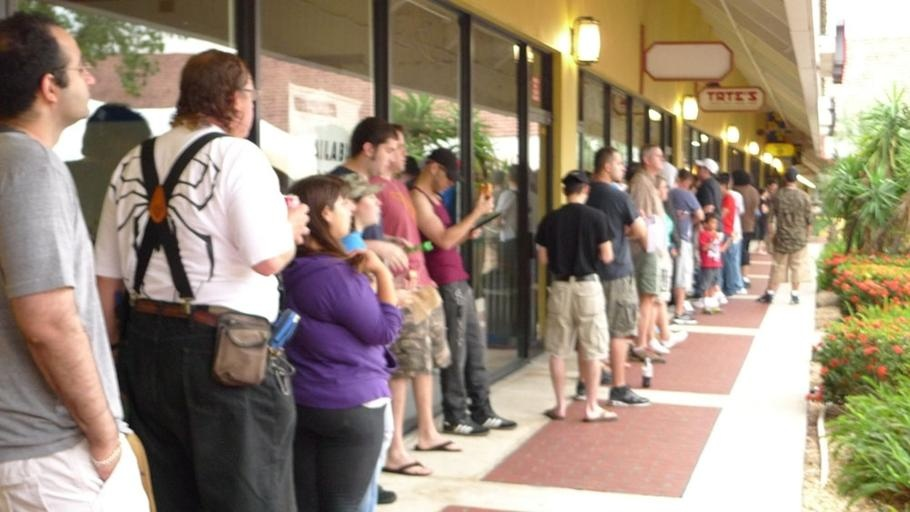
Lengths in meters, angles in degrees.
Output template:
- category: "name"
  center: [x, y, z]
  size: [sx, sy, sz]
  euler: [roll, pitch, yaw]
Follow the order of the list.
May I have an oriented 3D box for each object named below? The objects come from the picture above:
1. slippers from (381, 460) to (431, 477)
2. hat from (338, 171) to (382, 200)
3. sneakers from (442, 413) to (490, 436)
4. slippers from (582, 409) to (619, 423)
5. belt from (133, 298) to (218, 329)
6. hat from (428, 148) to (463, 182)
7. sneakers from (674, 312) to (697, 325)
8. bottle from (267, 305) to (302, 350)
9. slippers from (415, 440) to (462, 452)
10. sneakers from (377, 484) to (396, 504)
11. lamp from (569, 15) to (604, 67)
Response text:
- category: "slippers"
  center: [-0.399, 1.693, 6.645]
  size: [0.375, 0.078, 0.140]
  euler: [-1, 2, 12]
- category: "hat"
  center: [-0.596, -0.423, 5.077]
  size: [0.264, 0.158, 0.119]
  euler: [-6, 12, -30]
- category: "sneakers"
  center: [0.088, 1.546, 7.532]
  size: [0.389, 0.146, 0.162]
  euler: [0, 0, 2]
- category: "slippers"
  center: [1.384, 1.519, 7.812]
  size: [0.274, 0.102, 0.128]
  euler: [-6, -2, -1]
- category: "belt"
  center: [-1.407, 0.293, 4.221]
  size: [0.461, 0.109, 0.089]
  euler: [8, -8, 7]
- category: "hat"
  center: [-0.075, -0.787, 6.939]
  size: [0.311, 0.157, 0.209]
  euler: [30, 6, -11]
- category: "sneakers"
  center: [3.413, 0.938, 12.436]
  size: [0.432, 0.173, 0.161]
  euler: [-1, 8, 3]
- category: "bottle"
  center: [-0.896, 0.385, 4.469]
  size: [0.086, 0.279, 0.112]
  euler: [31, -4, -8]
- category: "slippers"
  center: [-0.151, 1.613, 7.083]
  size: [0.357, 0.066, 0.130]
  euler: [-2, -2, 8]
- category: "sneakers"
  center: [-0.511, 1.805, 6.219]
  size: [0.197, 0.078, 0.068]
  euler: [0, 1, 3]
- category: "lamp"
  center: [1.733, -2.888, 10.979]
  size: [0.374, 0.628, 0.408]
  euler: [1, 11, 7]
